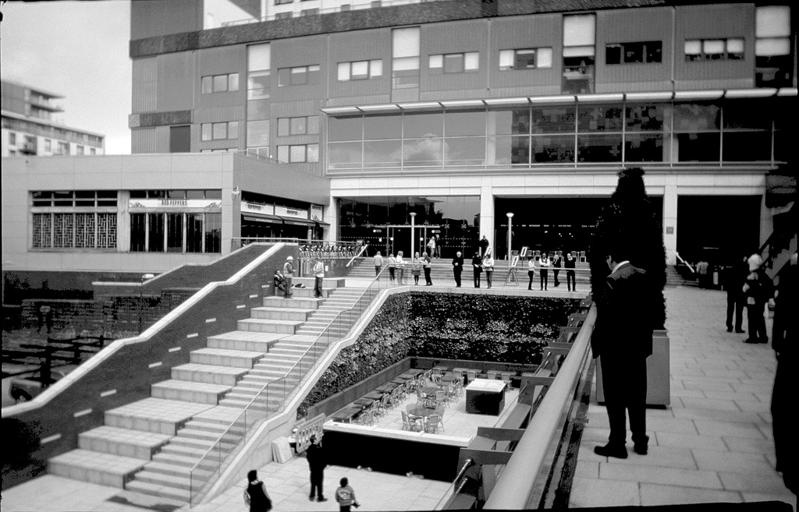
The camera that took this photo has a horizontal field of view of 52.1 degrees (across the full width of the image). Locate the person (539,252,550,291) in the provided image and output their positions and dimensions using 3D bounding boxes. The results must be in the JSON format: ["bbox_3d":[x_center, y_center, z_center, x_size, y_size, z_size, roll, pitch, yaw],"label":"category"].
[{"bbox_3d":[8.050,0.952,45.274,0.492,1.960,1.375,-1,3,10],"label":"person"}]

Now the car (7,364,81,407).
[{"bbox_3d":[-15.541,5.406,34.084,1.855,1.332,1.426,1,3,-11],"label":"car"}]

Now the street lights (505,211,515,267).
[{"bbox_3d":[7.569,-1.425,56.053,0.586,3.196,0.895,0,3,21],"label":"street lights"}]

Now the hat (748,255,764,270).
[{"bbox_3d":[13.553,0.310,30.953,0.202,0.572,0.512,17,-12,-28],"label":"hat"}]
